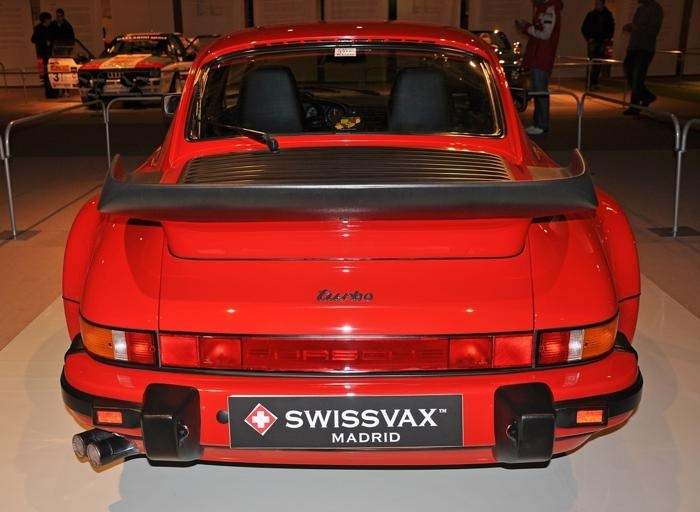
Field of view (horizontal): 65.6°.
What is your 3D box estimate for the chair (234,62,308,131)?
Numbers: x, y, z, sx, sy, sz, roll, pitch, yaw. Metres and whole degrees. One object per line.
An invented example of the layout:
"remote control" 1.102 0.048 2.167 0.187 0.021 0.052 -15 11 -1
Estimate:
"chair" -0.429 -0.905 3.121 0.341 0.440 0.219 -8 46 -5
